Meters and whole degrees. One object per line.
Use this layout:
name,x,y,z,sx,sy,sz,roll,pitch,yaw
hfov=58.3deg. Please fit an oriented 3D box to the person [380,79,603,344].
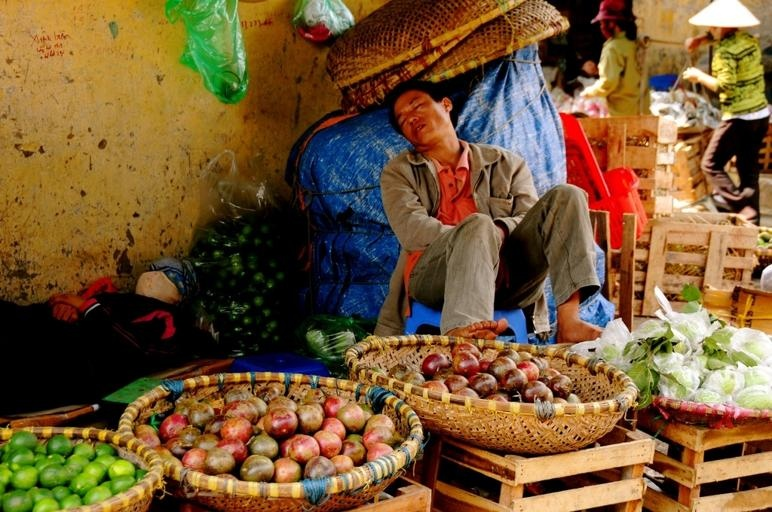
person,0.569,-0.291,4.216,1.079,1.859,1.480,4,-14,-28
